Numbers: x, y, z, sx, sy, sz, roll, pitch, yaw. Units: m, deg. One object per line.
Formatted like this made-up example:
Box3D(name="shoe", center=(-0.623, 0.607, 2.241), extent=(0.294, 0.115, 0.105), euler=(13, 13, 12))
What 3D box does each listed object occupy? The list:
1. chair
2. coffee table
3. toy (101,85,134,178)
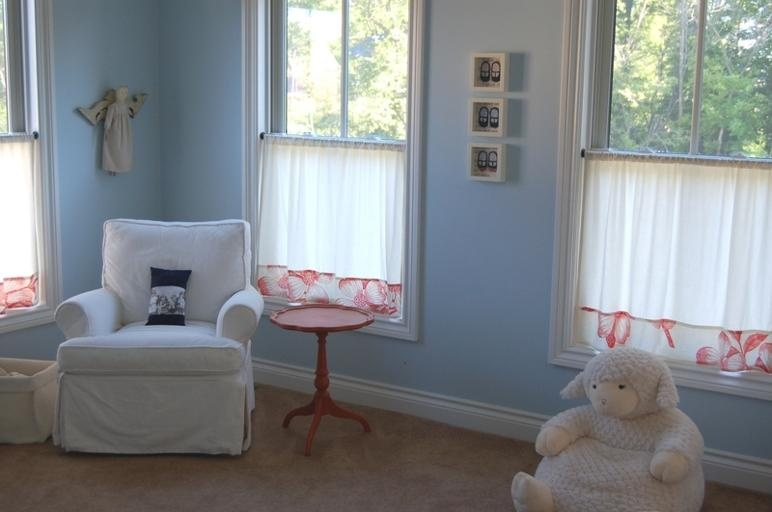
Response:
Box3D(name="chair", center=(-1.474, 0.466, 4.200), extent=(1.331, 1.379, 1.283), euler=(0, 6, -25))
Box3D(name="coffee table", center=(-0.429, 0.799, 4.054), extent=(0.611, 0.708, 0.645), euler=(-1, -1, -24))
Box3D(name="toy", center=(-2.100, -0.987, 4.795), extent=(0.264, 0.638, 0.144), euler=(-7, 13, -32))
